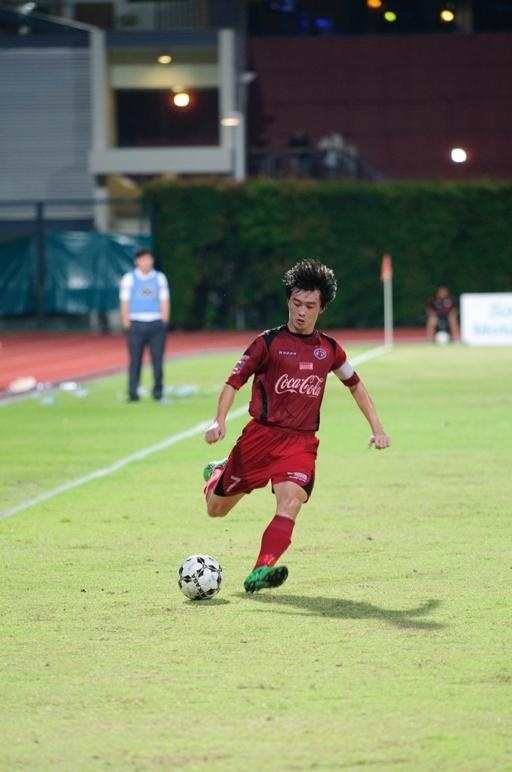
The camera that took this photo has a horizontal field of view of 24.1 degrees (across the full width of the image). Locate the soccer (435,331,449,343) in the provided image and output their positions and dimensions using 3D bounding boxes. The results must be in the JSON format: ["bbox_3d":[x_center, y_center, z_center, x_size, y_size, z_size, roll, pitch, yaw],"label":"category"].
[{"bbox_3d":[4.398,-1.153,28.201,0.311,0.312,0.295,-1,5,19],"label":"soccer"}]

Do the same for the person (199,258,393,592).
[{"bbox_3d":[0.098,0.080,5.508,0.779,1.314,1.094,3,6,25],"label":"person"}]

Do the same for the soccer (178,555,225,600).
[{"bbox_3d":[-0.246,0.866,5.358,0.140,0.133,0.136,10,47,40],"label":"soccer"}]

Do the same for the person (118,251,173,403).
[{"bbox_3d":[-1.311,-0.682,14.124,0.545,1.822,0.864,0,5,-5],"label":"person"}]
